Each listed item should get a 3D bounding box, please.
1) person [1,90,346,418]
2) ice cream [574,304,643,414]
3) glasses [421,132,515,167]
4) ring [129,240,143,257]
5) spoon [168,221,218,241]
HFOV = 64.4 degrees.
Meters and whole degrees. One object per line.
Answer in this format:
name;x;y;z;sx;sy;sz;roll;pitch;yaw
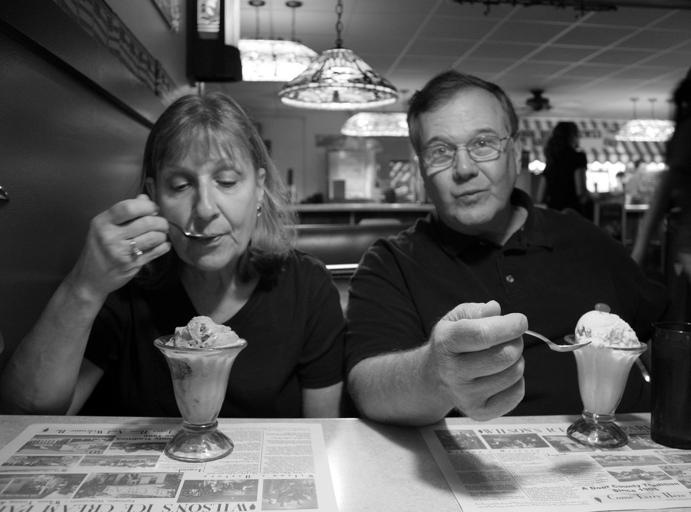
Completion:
person;-0.543;0.022;1.823;1.076;1.106;0.438;-3;15;-17
ice cream;0.678;0.277;1.452;0.169;0.283;0.142;5;14;13
glasses;0.423;-0.374;1.961;0.172;0.043;0.162;-6;-8;11
ring;-0.597;-0.023;1.568;0.016;0.038;0.042;-21;10;-20
spoon;-0.459;-0.078;1.684;0.158;0.020;0.027;13;23;17
